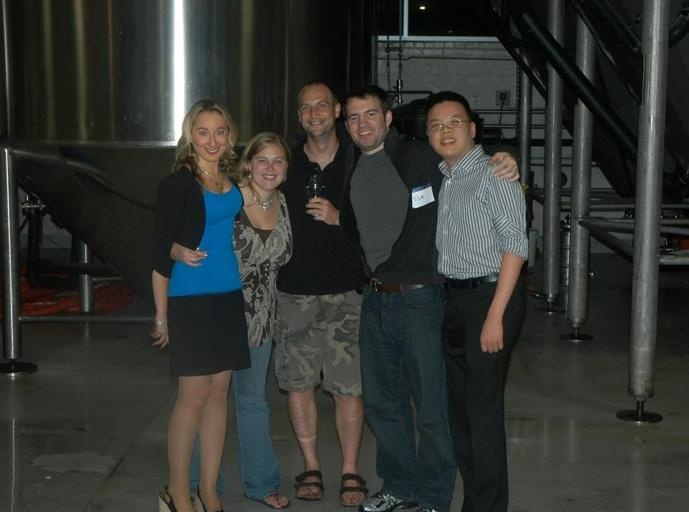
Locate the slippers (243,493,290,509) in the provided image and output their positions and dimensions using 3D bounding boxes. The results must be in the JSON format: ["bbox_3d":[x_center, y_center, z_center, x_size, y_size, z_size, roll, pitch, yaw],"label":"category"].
[{"bbox_3d":[-0.413,1.277,3.577,0.225,0.059,0.089,0,7,27],"label":"slippers"}]

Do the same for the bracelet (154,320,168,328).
[{"bbox_3d":[-0.872,0.320,3.228,0.061,0.040,0.033,-2,7,-3],"label":"bracelet"}]

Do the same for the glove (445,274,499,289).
[{"bbox_3d":[0.587,0.119,3.157,0.257,0.073,0.045,3,9,32],"label":"glove"}]

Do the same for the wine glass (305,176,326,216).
[{"bbox_3d":[-0.155,-0.325,3.602,0.104,0.225,0.180,-4,7,-12],"label":"wine glass"}]

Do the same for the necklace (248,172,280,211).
[{"bbox_3d":[-0.419,-0.325,3.411,0.131,0.168,0.078,-6,10,-12],"label":"necklace"}]

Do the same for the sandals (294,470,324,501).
[{"bbox_3d":[-0.195,1.227,3.685,0.163,0.124,0.193,-3,7,-4],"label":"sandals"}]
